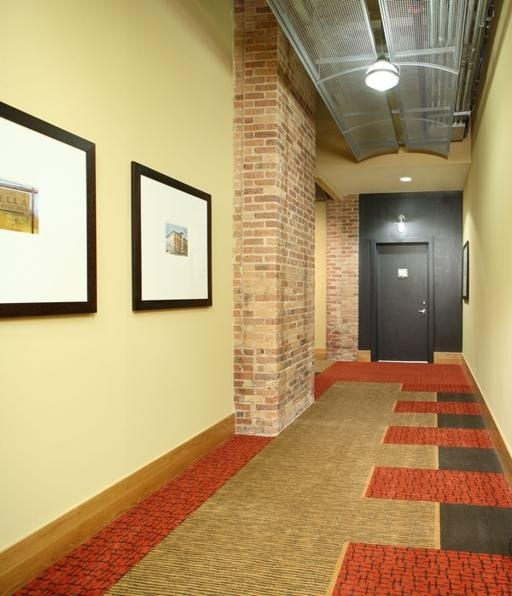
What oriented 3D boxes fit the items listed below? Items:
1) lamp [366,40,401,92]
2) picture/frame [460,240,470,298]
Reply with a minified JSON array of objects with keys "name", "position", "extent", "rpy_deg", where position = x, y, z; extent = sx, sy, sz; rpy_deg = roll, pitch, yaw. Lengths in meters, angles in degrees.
[{"name":"lamp","position":[1.008,-1.981,3.213],"extent":[0.248,0.576,0.310],"rpy_deg":[0,6,16]},{"name":"picture/frame","position":[3.903,-0.610,7.451],"extent":[0.039,1.042,1.674],"rpy_deg":[0,12,25]}]
